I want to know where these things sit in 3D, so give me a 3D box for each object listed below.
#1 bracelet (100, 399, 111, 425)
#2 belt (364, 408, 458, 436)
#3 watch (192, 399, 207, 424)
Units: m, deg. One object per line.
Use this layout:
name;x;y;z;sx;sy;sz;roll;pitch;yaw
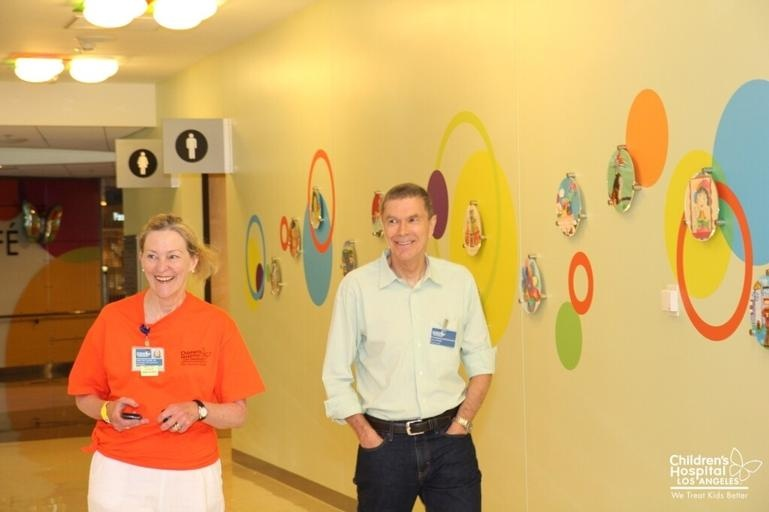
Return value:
bracelet;-1.266;0.712;2.869;0.032;0.097;0.069;0;5;-2
belt;0.138;0.821;3.111;0.439;0.114;0.095;1;1;-2
watch;-0.820;0.693;2.797;0.084;0.095;0.057;-11;-11;44
